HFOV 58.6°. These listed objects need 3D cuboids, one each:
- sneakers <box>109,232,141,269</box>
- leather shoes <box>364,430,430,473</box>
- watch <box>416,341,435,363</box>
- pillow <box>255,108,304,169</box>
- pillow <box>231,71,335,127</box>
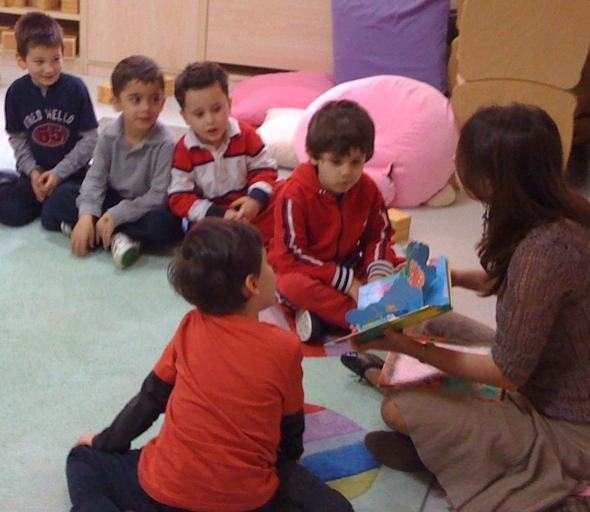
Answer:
[{"bbox_3d":[-0.573,-0.022,1.816,0.096,0.122,0.167,-11,29,-13],"label":"sneakers"},{"bbox_3d":[0.222,0.445,1.192,0.132,0.071,0.173,4,-4,-17],"label":"leather shoes"},{"bbox_3d":[0.252,0.187,1.023,0.011,0.037,0.035,5,9,-5],"label":"watch"},{"bbox_3d":[-0.071,-0.574,2.514,0.238,0.272,0.117,-2,-12,-10],"label":"pillow"},{"bbox_3d":[-0.062,-0.756,2.545,0.449,0.152,0.460,-6,33,2],"label":"pillow"}]
